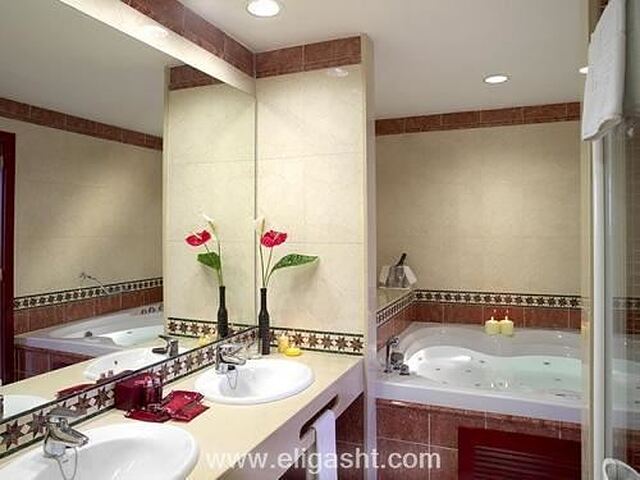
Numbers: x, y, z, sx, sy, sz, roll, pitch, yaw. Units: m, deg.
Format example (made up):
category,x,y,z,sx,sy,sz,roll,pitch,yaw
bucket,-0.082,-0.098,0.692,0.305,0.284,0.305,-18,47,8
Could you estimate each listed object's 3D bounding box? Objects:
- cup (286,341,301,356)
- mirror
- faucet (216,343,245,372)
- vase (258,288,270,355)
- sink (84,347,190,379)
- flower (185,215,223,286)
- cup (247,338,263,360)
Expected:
category,x,y,z,sx,sy,sz,roll,pitch,yaw
cup,-0.170,0.685,2.856,0.065,0.044,0.068,-1,3,0
mirror,-0.852,-0.235,2.216,0.250,1.951,1.448,8,10,29
faucet,-0.483,0.641,2.480,0.184,0.141,0.110,-4,-5,39
vase,-0.352,0.504,2.896,0.085,0.416,0.223,2,9,-6
sink,-0.895,0.589,2.174,0.214,0.090,0.237,2,3,26
flower,-0.672,0.066,2.591,0.158,0.418,0.232,-9,26,-16
cup,-0.404,0.687,2.810,0.079,0.101,0.089,0,-5,-11
